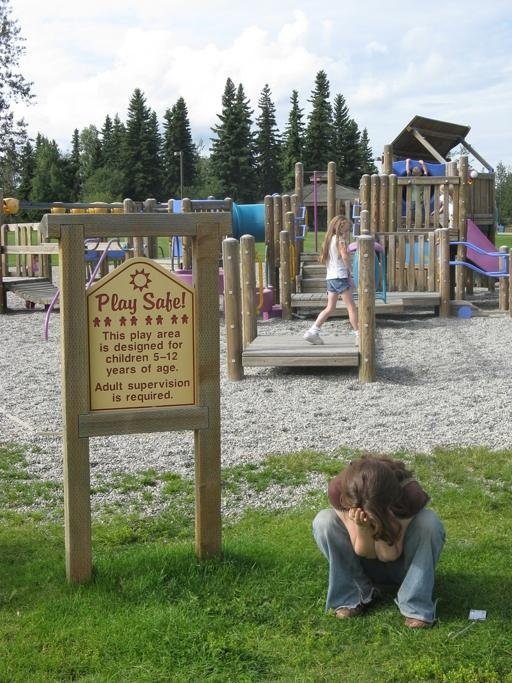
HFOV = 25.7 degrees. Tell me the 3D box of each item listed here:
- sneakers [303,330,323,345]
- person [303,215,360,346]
[{"bbox_3d":[0.527,-0.045,10.221,0.162,0.135,0.234,-2,4,1],"label":"sneakers"},{"bbox_3d":[0.678,-0.574,10.268,0.479,1.162,0.779,-2,4,3],"label":"person"}]
